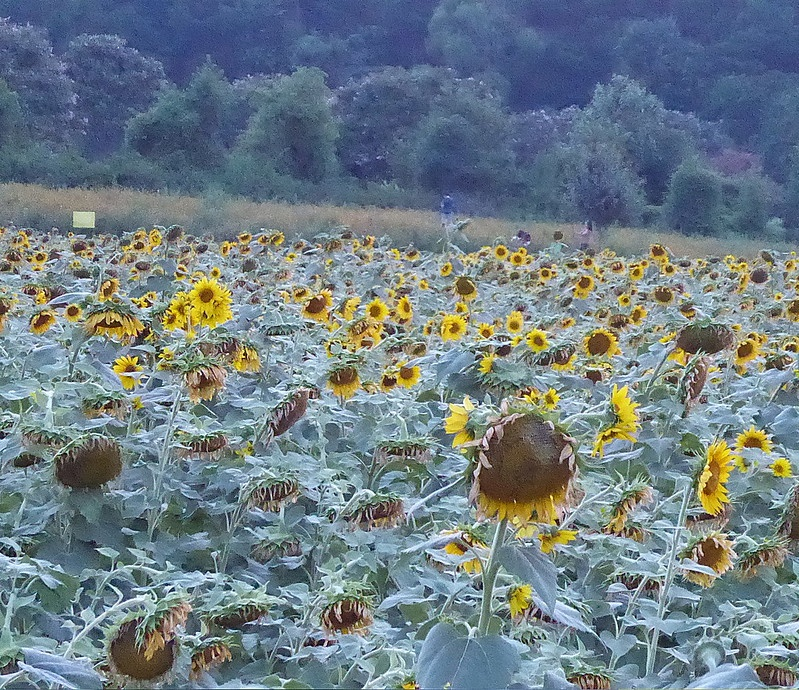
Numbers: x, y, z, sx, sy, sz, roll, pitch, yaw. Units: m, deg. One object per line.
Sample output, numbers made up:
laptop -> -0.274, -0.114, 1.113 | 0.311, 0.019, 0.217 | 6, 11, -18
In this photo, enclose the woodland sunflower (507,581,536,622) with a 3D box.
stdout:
woodland sunflower -> 0.413, 0.903, 3.640 | 0.047, 0.147, 0.144 | 11, 41, 19
